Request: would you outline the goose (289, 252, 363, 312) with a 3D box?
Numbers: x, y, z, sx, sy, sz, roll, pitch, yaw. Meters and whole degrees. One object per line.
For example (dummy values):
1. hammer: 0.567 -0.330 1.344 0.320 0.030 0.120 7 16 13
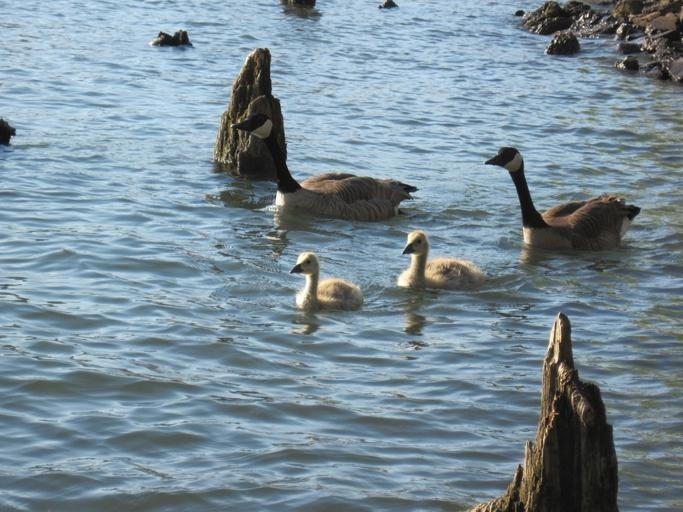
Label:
1. goose: -0.229 0.423 24.145 1.299 0.981 0.640 4 7 -1
